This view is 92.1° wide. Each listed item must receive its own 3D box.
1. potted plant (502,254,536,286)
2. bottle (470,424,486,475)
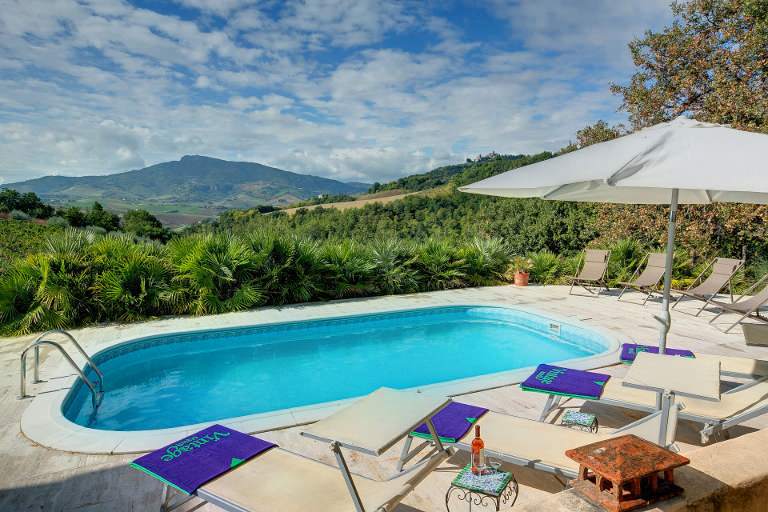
[{"bbox_3d":[4.656,0.522,12.965,1.137,0.891,1.088,-3,5,-39],"label":"potted plant"},{"bbox_3d":[0.746,1.446,2.908,0.106,0.433,0.302,5,14,16],"label":"bottle"}]
